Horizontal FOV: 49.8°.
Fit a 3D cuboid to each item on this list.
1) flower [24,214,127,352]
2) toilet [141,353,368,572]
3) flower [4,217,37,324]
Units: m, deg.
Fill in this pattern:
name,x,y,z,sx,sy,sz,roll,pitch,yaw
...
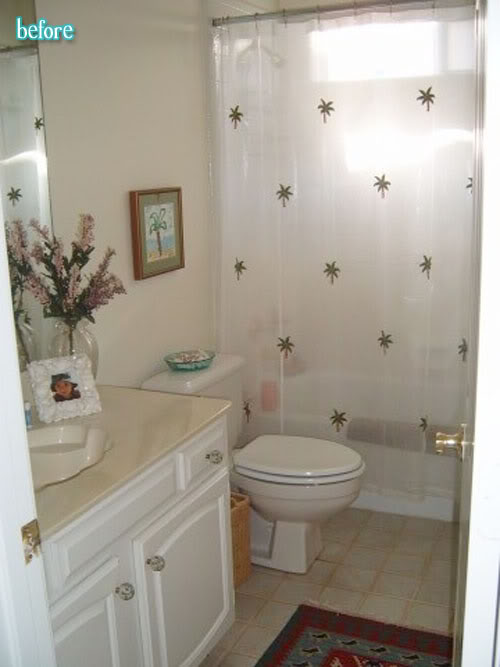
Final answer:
name,x,y,z,sx,sy,sz,roll,pitch,yaw
flower,-0.467,-0.129,1.626,0.302,0.530,0.359,3,4,-9
toilet,0.068,0.557,2.241,0.724,0.844,0.461,2,12,26
flower,-0.543,-0.154,1.266,0.054,0.301,0.075,1,10,2
